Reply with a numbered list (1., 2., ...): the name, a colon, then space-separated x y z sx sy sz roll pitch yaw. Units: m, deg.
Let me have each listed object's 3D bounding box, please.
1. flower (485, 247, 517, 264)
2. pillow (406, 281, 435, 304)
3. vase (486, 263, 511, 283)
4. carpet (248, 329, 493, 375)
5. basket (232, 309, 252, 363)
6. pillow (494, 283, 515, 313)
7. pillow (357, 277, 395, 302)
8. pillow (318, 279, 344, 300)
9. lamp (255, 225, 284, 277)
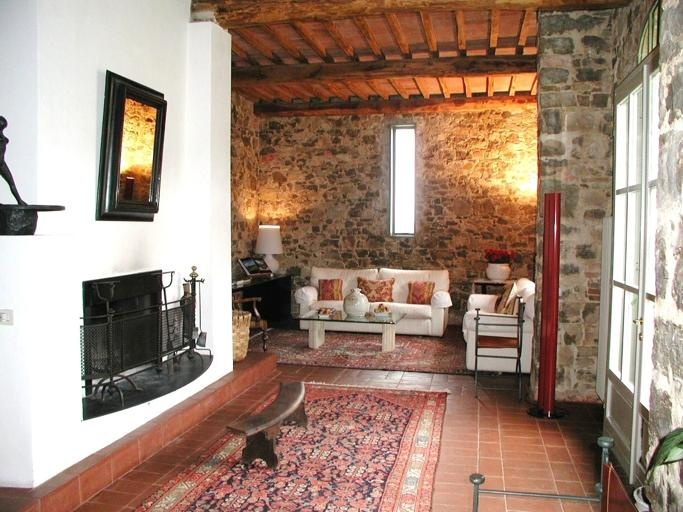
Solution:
1. flower: 2.769 -0.011 8.852 0.357 0.173 0.335 0 3 -5
2. pillow: 1.327 0.615 8.484 0.366 0.332 0.135 1 -23 19
3. vase: 2.719 0.266 8.857 0.380 0.285 0.360 -1 7 2
4. carpet: 0.342 1.353 7.482 2.880 0.070 2.028 2 5 11
5. basket: -1.170 0.957 5.912 0.195 0.534 0.382 0 5 -10
6. pillow: 2.140 0.581 6.725 0.118 0.353 0.389 25 19 9
7. pillow: 0.583 0.570 8.592 0.435 0.274 0.143 2 -23 6
8. pillow: -0.192 0.583 8.938 0.370 0.309 0.134 0 -14 0
9. lamp: -1.413 -0.132 9.794 0.491 0.943 0.656 0 5 -9
